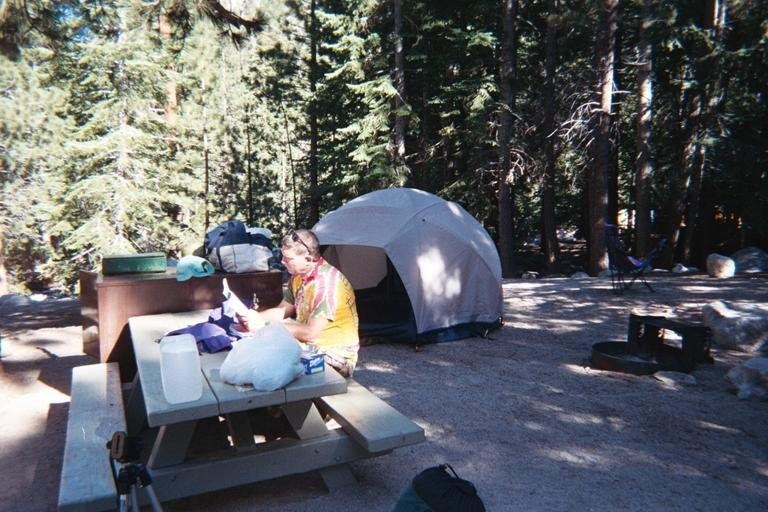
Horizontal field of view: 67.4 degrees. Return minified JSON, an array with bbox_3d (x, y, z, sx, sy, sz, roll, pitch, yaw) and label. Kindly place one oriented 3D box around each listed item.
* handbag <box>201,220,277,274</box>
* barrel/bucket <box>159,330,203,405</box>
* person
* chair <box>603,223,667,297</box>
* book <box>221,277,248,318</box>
[{"bbox_3d":[-2.129,-0.211,8.353,0.705,0.553,0.896,-6,11,-34],"label":"handbag"},{"bbox_3d":[-2.084,1.140,5.949,0.406,0.684,0.387,0,16,0],"label":"barrel/bucket"},{"bbox_3d":[-1.038,0.932,7.267,1.376,2.499,1.160,-4,13,-9],"label":"person"},{"bbox_3d":[5.597,0.030,12.670,1.266,1.613,1.516,-5,2,21],"label":"chair"},{"bbox_3d":[-1.751,0.500,6.819,0.325,0.144,0.445,45,5,40],"label":"book"}]
